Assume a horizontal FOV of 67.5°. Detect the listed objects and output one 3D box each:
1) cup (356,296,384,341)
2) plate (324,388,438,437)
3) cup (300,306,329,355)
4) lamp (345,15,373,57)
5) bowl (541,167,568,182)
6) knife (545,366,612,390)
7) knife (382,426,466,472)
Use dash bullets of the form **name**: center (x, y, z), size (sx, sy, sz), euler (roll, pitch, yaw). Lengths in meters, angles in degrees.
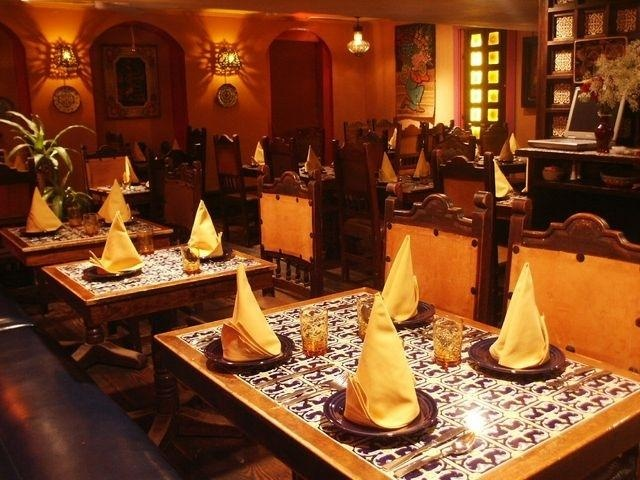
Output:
- **cup**: center (0.142, 0.251, 1.610), size (0.119, 0.144, 0.126), euler (1, 9, 0)
- **plate**: center (0.138, 0.393, 1.113), size (0.265, 0.026, 0.202), euler (-1, 14, 4)
- **cup**: center (-0.021, 0.282, 1.467), size (0.086, 0.151, 0.093), euler (0, 12, 0)
- **lamp**: center (0.646, -3.541, 8.283), size (0.340, 0.708, 0.344), euler (-12, 15, -43)
- **bowl**: center (1.924, -0.531, 3.991), size (0.128, 0.092, 0.142), euler (-1, 6, -11)
- **knife**: center (0.676, 0.371, 1.275), size (0.215, 0.016, 0.065), euler (-7, 15, -42)
- **knife**: center (0.210, 0.436, 0.994), size (0.168, 0.008, 0.023), euler (-13, 21, -42)
